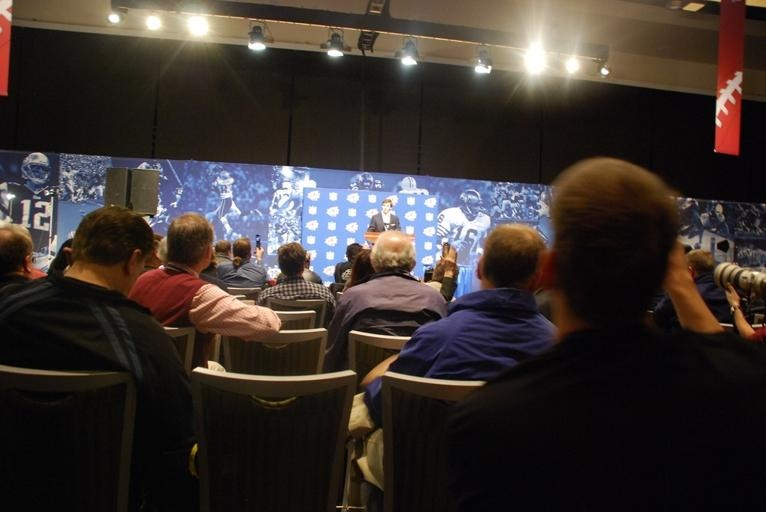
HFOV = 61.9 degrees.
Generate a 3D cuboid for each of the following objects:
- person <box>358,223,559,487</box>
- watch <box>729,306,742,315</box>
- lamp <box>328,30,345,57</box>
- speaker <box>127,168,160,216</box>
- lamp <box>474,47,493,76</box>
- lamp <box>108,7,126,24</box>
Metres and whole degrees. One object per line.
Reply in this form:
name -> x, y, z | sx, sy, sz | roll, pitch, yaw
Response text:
person -> 0.602, 0.536, 3.922 | 1.177, 1.673, 0.925 | 4, 26, -9
watch -> 2.527, 0.384, 4.572 | 0.054, 0.038, 0.066 | 2, -16, 23
lamp -> -0.703, -3.166, 9.451 | 0.223, 0.400, 0.780 | 3, 1, -7
speaker -> -2.187, -0.542, 5.691 | 0.276, 0.397, 0.290 | -10, 6, 43
lamp -> 1.476, -2.906, 9.396 | 0.222, 0.361, 0.243 | 4, 1, 7
lamp -> -3.706, -3.339, 8.879 | 0.166, 0.160, 0.274 | 3, 1, -27
